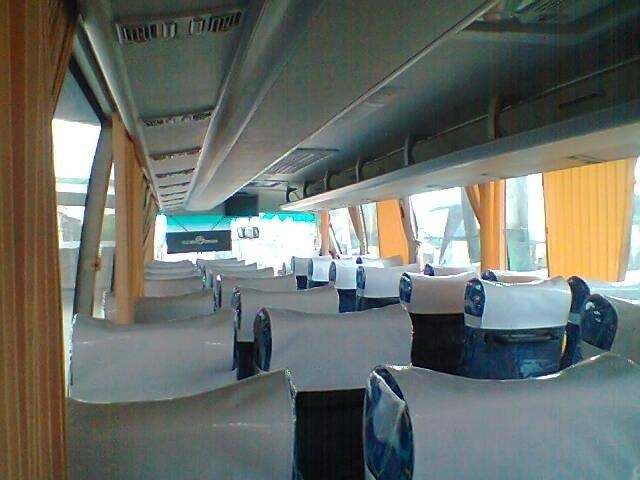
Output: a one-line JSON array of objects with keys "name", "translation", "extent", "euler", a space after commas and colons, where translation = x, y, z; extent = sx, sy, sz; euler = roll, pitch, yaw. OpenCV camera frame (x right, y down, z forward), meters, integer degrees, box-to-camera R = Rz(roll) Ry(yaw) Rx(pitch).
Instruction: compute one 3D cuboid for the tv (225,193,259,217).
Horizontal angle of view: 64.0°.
[{"name": "tv", "translation": [-1.914, -0.854, 12.990], "extent": [0.893, 0.705, 0.507], "euler": [1, 0, -2]}]
